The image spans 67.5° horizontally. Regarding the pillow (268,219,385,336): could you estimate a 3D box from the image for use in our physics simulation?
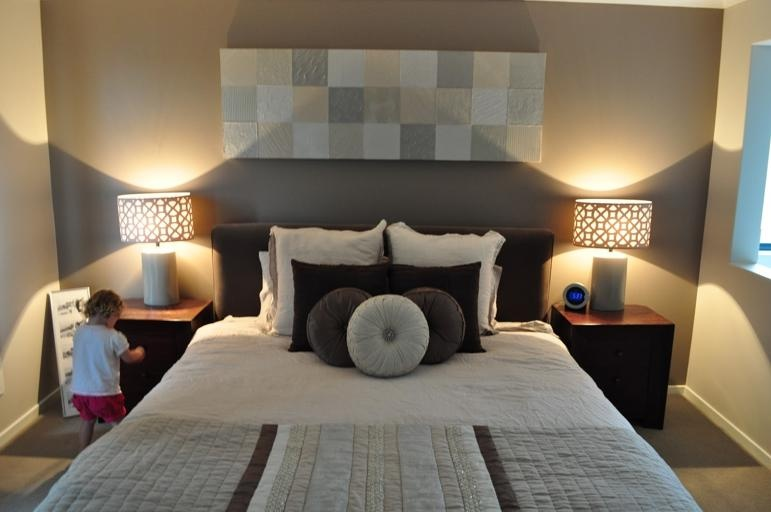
[{"bbox_3d":[-0.373,0.196,3.919,0.194,0.706,0.662,-30,-13,37],"label":"pillow"}]

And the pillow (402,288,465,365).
[{"bbox_3d":[0.276,0.496,3.635,0.436,0.138,0.426,-7,39,-35],"label":"pillow"}]

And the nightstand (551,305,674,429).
[{"bbox_3d":[1.632,0.687,4.386,0.923,1.017,0.733,0,10,4],"label":"nightstand"}]

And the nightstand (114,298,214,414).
[{"bbox_3d":[-1.552,0.739,4.268,0.729,0.755,0.603,-2,13,8],"label":"nightstand"}]

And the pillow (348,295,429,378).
[{"bbox_3d":[0.022,0.478,3.383,0.456,0.465,0.158,-4,-9,-11],"label":"pillow"}]

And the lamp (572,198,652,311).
[{"bbox_3d":[1.684,-0.021,4.336,0.553,0.869,0.558,-3,15,-5],"label":"lamp"}]

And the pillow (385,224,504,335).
[{"bbox_3d":[0.436,0.103,3.754,0.693,0.728,0.282,3,4,4],"label":"pillow"}]

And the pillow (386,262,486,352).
[{"bbox_3d":[0.302,0.324,3.594,0.517,0.480,0.183,1,-15,-5],"label":"pillow"}]

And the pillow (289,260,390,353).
[{"bbox_3d":[-0.289,0.325,3.579,0.530,0.506,0.188,1,-11,6],"label":"pillow"}]
